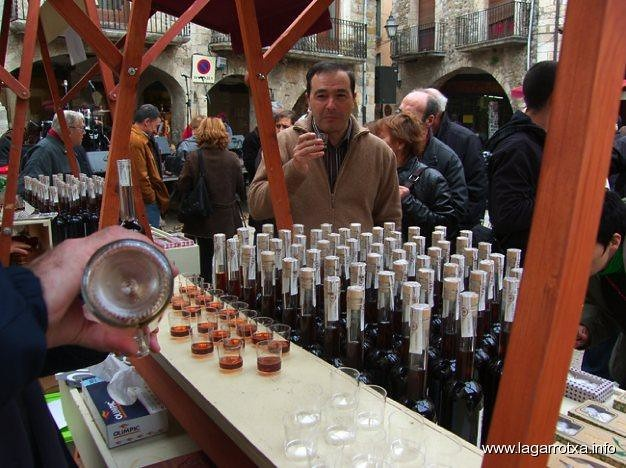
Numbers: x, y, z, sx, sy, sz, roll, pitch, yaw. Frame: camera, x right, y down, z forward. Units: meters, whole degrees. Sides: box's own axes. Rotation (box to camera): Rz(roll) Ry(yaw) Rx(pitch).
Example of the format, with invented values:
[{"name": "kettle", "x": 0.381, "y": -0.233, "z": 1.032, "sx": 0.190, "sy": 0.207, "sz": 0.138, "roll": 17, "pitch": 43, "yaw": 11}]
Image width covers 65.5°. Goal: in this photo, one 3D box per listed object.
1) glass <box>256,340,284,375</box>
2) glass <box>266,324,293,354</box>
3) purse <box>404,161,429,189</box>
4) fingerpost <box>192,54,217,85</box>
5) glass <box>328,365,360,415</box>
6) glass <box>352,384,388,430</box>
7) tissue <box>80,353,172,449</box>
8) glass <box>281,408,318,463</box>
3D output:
[{"name": "glass", "x": -0.150, "y": 0.422, "z": 1.679, "sx": 0.077, "sy": 0.100, "sz": 0.094, "roll": 0, "pitch": -5, "yaw": -5}, {"name": "glass", "x": -0.115, "y": 0.385, "z": 1.778, "sx": 0.070, "sy": 0.098, "sz": 0.086, "roll": 0, "pitch": -1, "yaw": -3}, {"name": "purse", "x": 0.770, "y": -0.437, "z": 3.680, "sx": 0.049, "sy": 0.212, "sz": 0.124, "roll": 34, "pitch": -4, "yaw": -12}, {"name": "fingerpost", "x": -3.779, "y": -5.608, "z": 16.729, "sx": 0.919, "sy": 1.091, "sz": 0.320, "roll": -2, "pitch": 6, "yaw": -35}, {"name": "glass", "x": 0.087, "y": 0.464, "z": 1.416, "sx": 0.068, "sy": 0.100, "sz": 0.097, "roll": 0, "pitch": 1, "yaw": -5}, {"name": "glass", "x": 0.161, "y": 0.494, "z": 1.407, "sx": 0.062, "sy": 0.122, "sz": 0.109, "roll": 3, "pitch": 6, "yaw": 17}, {"name": "tissue", "x": -0.772, "y": 0.562, "z": 1.971, "sx": 0.235, "sy": 0.125, "sz": 0.474, "roll": -9, "pitch": 20, "yaw": -29}, {"name": "glass", "x": -0.030, "y": 0.527, "z": 1.293, "sx": 0.104, "sy": 0.090, "sz": 0.082, "roll": 2, "pitch": -1, "yaw": -43}]
